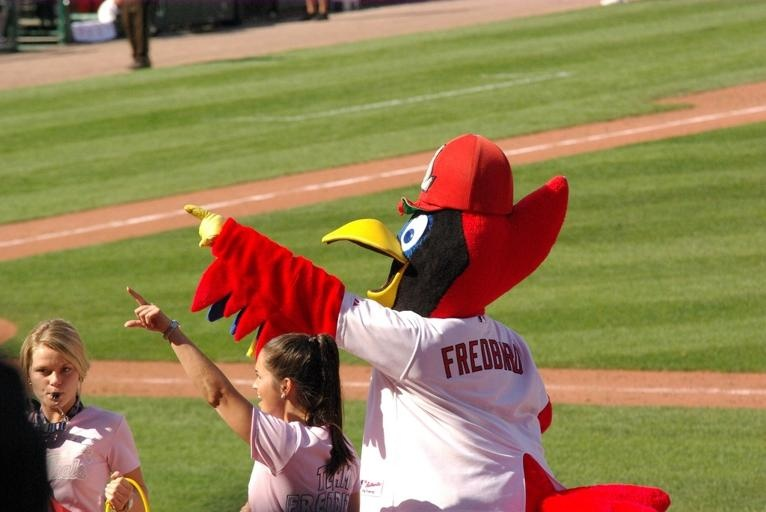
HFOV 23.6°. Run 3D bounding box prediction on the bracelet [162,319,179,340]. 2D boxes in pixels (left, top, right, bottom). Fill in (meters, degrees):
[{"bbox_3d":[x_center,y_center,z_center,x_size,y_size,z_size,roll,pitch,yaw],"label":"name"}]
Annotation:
[{"bbox_3d":[-2.470,0.838,21.409,0.112,0.164,0.176,43,-6,20],"label":"bracelet"}]
